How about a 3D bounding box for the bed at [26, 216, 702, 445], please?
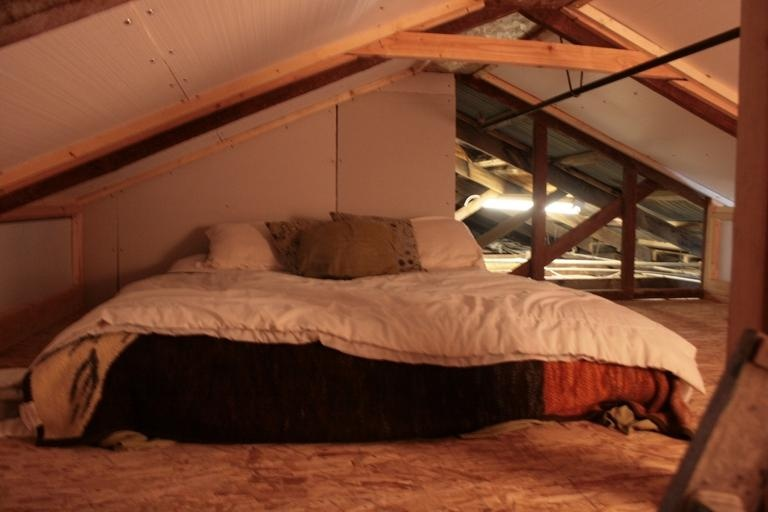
[{"bbox_3d":[-0.099,0.286,3.977,3.069,1.153,1.923,0,-1,-3],"label":"bed"}]
